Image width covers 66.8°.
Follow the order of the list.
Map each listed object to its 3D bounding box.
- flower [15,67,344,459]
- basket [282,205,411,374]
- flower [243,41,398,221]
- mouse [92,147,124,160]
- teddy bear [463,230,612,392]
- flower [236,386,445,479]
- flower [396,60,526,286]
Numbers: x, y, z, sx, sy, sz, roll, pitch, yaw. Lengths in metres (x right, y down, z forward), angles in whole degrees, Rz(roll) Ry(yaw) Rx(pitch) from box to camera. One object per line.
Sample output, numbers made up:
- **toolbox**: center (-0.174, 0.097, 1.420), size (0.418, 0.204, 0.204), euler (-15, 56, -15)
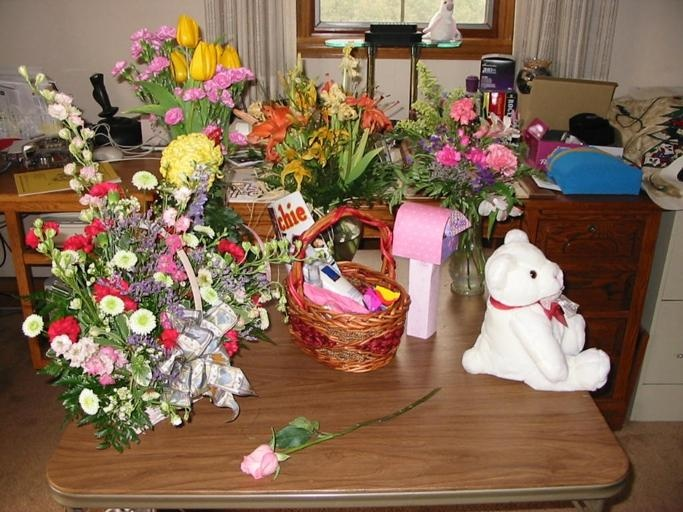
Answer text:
- **flower**: center (-0.397, 0.002, 1.116), size (0.540, 0.766, 0.427), euler (-12, 26, -24)
- **basket**: center (-0.011, 0.054, 1.343), size (0.324, 0.408, 0.400), euler (-7, 31, -14)
- **flower**: center (-0.019, -0.291, 1.498), size (0.482, 0.488, 0.457), euler (0, 11, 32)
- **mouse**: center (-1.157, -0.505, 2.572), size (0.110, 0.032, 0.073), euler (3, 15, 5)
- **teddy bear**: center (0.436, 0.114, 1.338), size (0.389, 0.378, 0.308), euler (-3, 29, 15)
- **flower**: center (-0.021, 0.333, 1.125), size (0.396, 0.058, 0.116), euler (-15, 7, -30)
- **flower**: center (0.358, -0.215, 1.542), size (0.381, 0.581, 0.323), euler (7, 23, 25)
